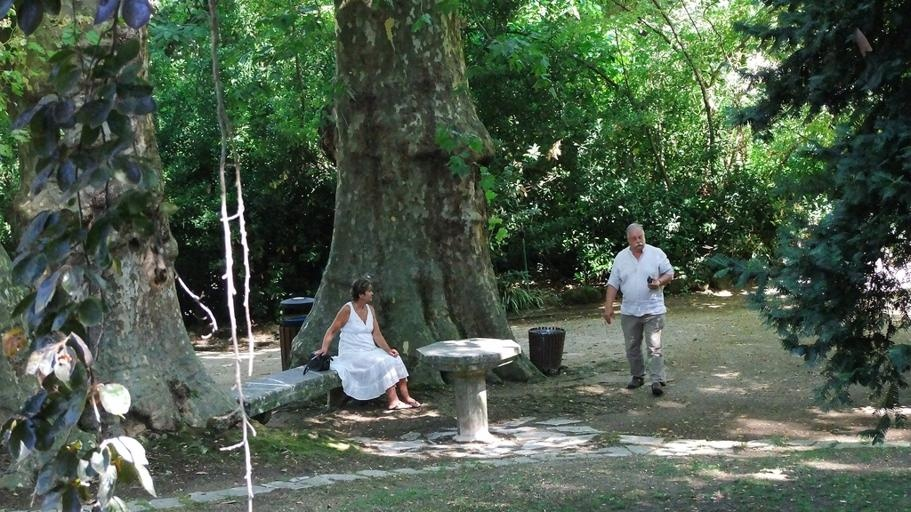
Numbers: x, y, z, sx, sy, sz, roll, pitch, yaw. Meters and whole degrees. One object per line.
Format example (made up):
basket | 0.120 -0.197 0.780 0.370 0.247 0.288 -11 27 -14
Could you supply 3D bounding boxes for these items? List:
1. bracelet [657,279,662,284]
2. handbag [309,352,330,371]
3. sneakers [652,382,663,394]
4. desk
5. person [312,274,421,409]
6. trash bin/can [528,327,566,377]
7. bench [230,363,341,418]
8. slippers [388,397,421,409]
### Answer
bracelet | 3.065 0.391 14.426 0.065 0.051 0.024 -3 -2 -22
handbag | -1.947 1.576 14.126 0.291 0.252 0.260 12 -5 -26
sneakers | 3.044 2.035 14.529 0.201 0.178 0.123 0 1 4
desk | 0.194 1.882 13.153 1.318 1.194 0.722 -4 -2 -4
person | -1.301 1.352 14.355 1.222 1.630 0.503 -4 -1 -7
trash bin/can | 1.789 1.647 16.555 0.782 0.823 0.747 -1 0 -38
bench | -2.413 1.925 13.341 0.663 0.515 1.960 -5 -3 24
slippers | -0.776 2.262 14.434 0.541 0.216 0.168 -5 1 2
